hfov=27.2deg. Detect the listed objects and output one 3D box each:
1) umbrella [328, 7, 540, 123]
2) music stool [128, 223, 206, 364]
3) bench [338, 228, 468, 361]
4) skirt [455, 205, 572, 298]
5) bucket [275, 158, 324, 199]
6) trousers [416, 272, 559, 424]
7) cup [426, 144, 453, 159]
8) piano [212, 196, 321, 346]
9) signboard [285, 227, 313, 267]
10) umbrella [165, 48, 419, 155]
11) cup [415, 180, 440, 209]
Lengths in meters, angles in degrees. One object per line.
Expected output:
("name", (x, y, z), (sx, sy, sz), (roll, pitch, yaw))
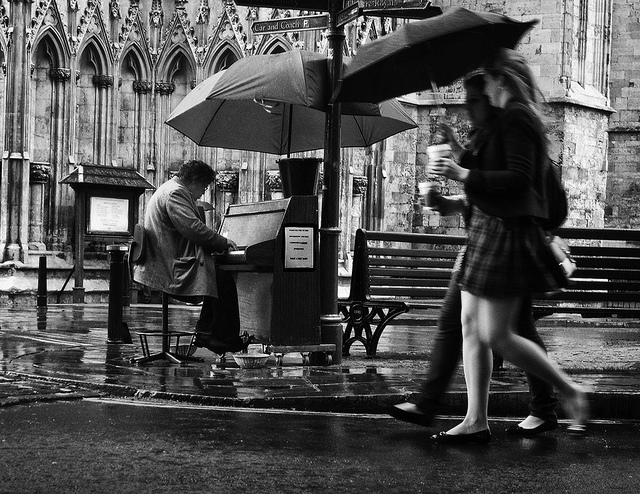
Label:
("umbrella", (1.028, -1.716, 11.881), (1.427, 0.968, 1.579), (2, 0, -22))
("music stool", (-1.497, 0.511, 12.893), (0.860, 1.364, 0.692), (2, 15, -2))
("bench", (0.885, 0.546, 14.057), (1.704, 0.816, 0.745), (2, -2, -43))
("skirt", (1.379, 0.020, 9.345), (0.710, 0.670, 0.644), (-2, 3, 13))
("bucket", (-0.190, -0.687, 12.852), (0.412, 0.395, 0.384), (2, 0, 0))
("trousers", (1.252, 0.738, 9.686), (0.974, 1.099, 0.427), (2, 0, -29))
("cup", (0.866, -0.689, 9.449), (0.175, 0.098, 0.252), (2, 0, 5))
("piano", (-0.555, 0.248, 13.059), (0.899, 1.443, 1.345), (2, 0, -16))
("signboard", (-0.179, -0.003, 12.651), (0.356, 0.433, 0.258), (0, 2, 2))
("umbrella", (-0.613, -1.461, 14.260), (1.847, 0.548, 1.754), (-1, -9, 20))
("cup", (0.787, -0.382, 9.553), (0.206, 0.197, 0.196), (0, -6, 0))
